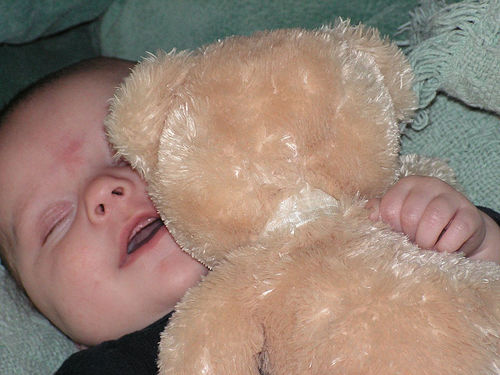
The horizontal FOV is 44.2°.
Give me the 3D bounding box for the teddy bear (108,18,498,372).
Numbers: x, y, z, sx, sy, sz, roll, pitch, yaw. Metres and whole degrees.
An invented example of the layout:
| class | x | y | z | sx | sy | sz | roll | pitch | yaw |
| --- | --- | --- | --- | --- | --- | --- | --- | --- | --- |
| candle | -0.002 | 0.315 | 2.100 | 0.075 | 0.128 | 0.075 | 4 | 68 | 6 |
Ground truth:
| class | x | y | z | sx | sy | sz | roll | pitch | yaw |
| --- | --- | --- | --- | --- | --- | --- | --- | --- | --- |
| teddy bear | 0.054 | 0.032 | 1.029 | 0.539 | 0.275 | 0.652 | -9 | 69 | -11 |
